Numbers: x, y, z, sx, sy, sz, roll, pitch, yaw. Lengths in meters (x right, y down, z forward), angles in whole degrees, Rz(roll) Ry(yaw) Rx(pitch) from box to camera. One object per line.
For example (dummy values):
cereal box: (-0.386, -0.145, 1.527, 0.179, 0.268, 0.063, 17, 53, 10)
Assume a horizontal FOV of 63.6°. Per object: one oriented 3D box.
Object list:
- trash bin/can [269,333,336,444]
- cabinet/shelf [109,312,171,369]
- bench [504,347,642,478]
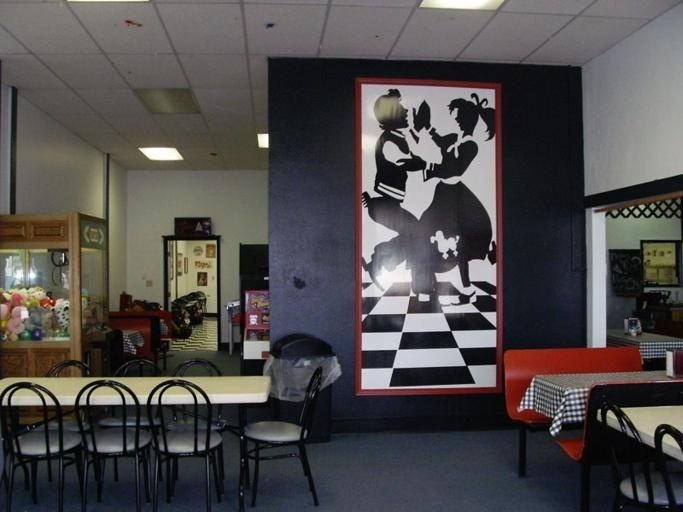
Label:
trash bin/can: (-0.356, 1.422, 6.532, 0.945, 1.649, 0.897, 1, -3, -6)
cabinet/shelf: (-3.173, 1.297, 8.601, 0.946, 0.708, 0.452, -1, -5, 6)
bench: (2.104, 1.386, 4.983, 0.999, 0.845, 0.445, 1, -6, -8)
